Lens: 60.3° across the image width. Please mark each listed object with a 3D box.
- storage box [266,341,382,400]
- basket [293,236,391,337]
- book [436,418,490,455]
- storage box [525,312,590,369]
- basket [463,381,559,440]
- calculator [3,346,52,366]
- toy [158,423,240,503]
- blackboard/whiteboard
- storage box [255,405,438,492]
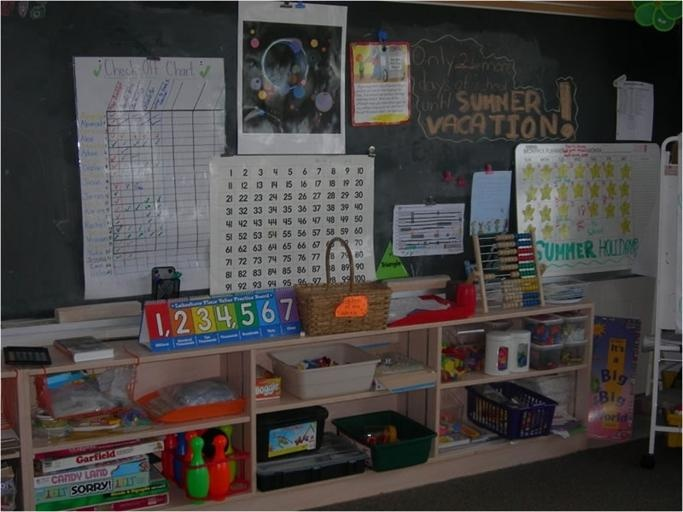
[{"bbox_3d":[-0.081,0.624,3.161,0.388,0.136,0.316,-3,5,-24],"label":"storage box"},{"bbox_3d":[-0.018,0.179,3.227,0.554,0.537,0.277,-2,-1,-25],"label":"basket"},{"bbox_3d":[0.716,1.094,3.552,0.185,0.056,0.194,-2,4,-17],"label":"book"},{"bbox_3d":[1.345,0.504,3.778,0.498,0.364,0.291,-6,10,-26],"label":"storage box"},{"bbox_3d":[1.040,0.926,3.627,0.305,0.203,0.439,-3,11,-29],"label":"basket"},{"bbox_3d":[-1.397,0.448,2.620,0.126,0.030,0.128,2,15,-21],"label":"calculator"},{"bbox_3d":[-0.723,1.024,3.019,0.384,0.358,0.286,-4,8,-22],"label":"toy"},{"bbox_3d":[0.180,-0.644,3.439,3.939,1.638,0.173,-5,5,-19],"label":"blackboard/whiteboard"},{"bbox_3d":[0.046,1.082,3.215,0.785,0.164,0.406,-3,5,-25],"label":"storage box"}]
